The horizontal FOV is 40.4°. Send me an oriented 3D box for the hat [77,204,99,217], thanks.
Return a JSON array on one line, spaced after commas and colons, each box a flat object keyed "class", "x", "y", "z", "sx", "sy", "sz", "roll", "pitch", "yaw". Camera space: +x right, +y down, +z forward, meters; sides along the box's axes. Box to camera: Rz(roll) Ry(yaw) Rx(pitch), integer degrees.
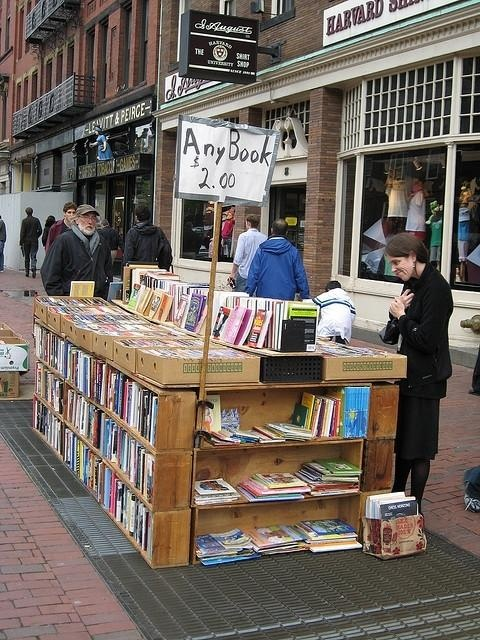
[{"class": "hat", "x": -1.803, "y": -1.257, "z": 7.594, "sx": 0.201, "sy": 0.104, "sz": 0.290, "roll": 1, "pitch": 6, "yaw": -23}]
